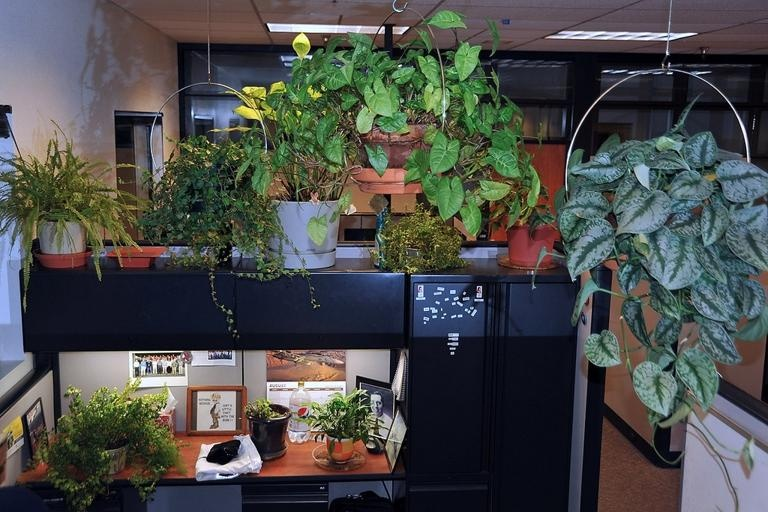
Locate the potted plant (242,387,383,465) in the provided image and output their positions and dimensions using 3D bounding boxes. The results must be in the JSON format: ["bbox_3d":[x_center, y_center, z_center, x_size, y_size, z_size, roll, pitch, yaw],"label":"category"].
[{"bbox_3d":[-0.405,0.990,3.566,0.611,0.287,0.422,-1,4,-2],"label":"potted plant"}]

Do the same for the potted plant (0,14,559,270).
[{"bbox_3d":[-0.361,-0.569,3.050,2.281,1.125,1.358,-3,9,-6],"label":"potted plant"}]
